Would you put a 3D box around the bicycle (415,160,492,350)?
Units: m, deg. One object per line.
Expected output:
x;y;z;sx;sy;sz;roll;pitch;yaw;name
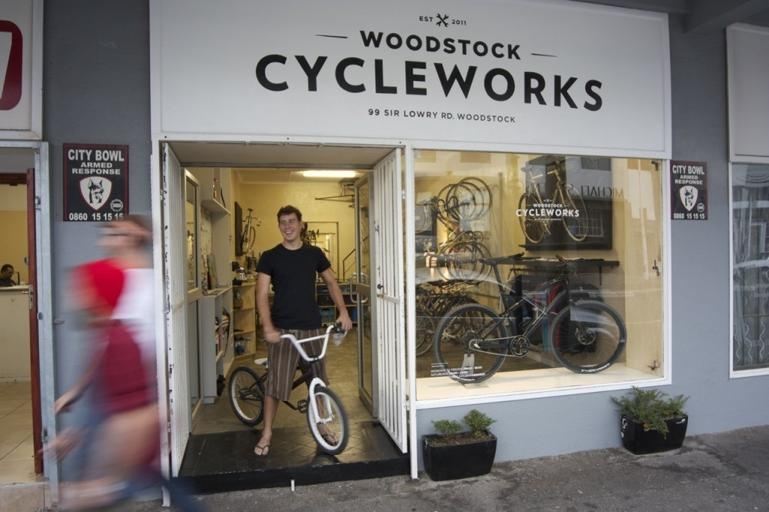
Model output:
0.734;-0.042;6.047;0.993;1.653;0.829;1;1;2;bicycle

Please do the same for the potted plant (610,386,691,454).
2.734;1.673;6.142;0.724;0.612;0.444;-4;2;-7;potted plant

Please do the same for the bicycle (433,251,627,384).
1.490;0.652;6.208;2.011;1.243;1.080;-2;-2;-4;bicycle

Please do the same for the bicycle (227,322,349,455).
-1.028;1.315;6.177;1.870;1.163;0.916;3;3;41;bicycle

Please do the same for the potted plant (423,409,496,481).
0.721;1.823;5.797;0.718;0.580;0.350;1;7;-15;potted plant

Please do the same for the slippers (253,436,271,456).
-1.194;1.849;5.878;0.147;0.144;0.215;-2;2;-12;slippers

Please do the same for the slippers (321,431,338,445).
-0.538;1.770;5.841;0.093;0.071;0.189;5;-8;-40;slippers
